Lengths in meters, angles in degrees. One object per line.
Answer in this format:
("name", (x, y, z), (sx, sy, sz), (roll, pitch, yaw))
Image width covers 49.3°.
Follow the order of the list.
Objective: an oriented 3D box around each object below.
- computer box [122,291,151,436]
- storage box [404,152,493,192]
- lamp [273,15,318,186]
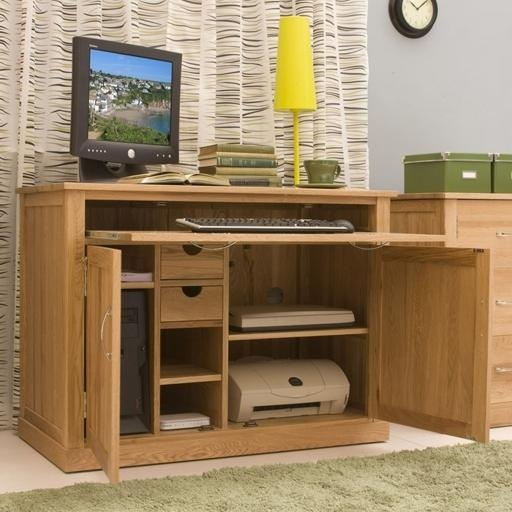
("computer box", (-0.352, 0.302, 1.608), (0.089, 0.396, 0.131), (1, -2, -19))
("storage box", (0.738, -0.276, 2.152), (0.213, 0.129, 0.210), (-2, 3, -36))
("lamp", (0.143, -0.541, 1.984), (0.142, 0.645, 0.325), (0, -2, 15))
